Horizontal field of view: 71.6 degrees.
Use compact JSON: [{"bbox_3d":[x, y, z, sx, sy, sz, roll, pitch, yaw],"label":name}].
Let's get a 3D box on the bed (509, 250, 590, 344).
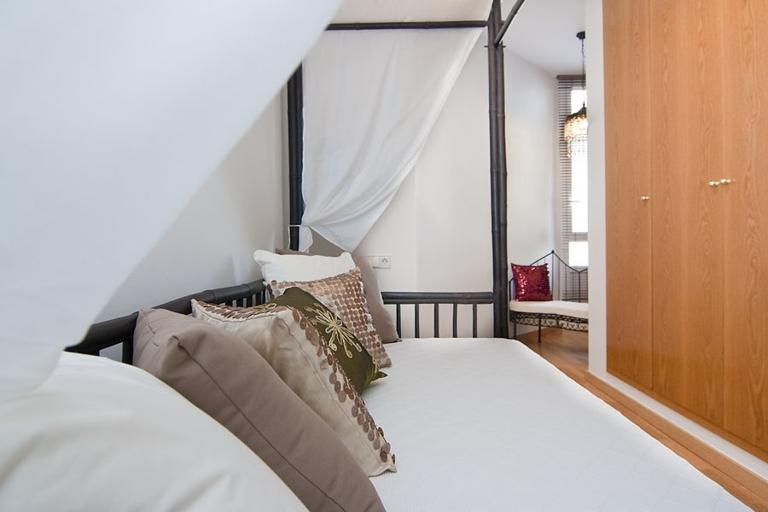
[{"bbox_3d":[1.490,0.361,4.325,0.803,0.552,0.897,-1,-21,20],"label":"bed"}]
